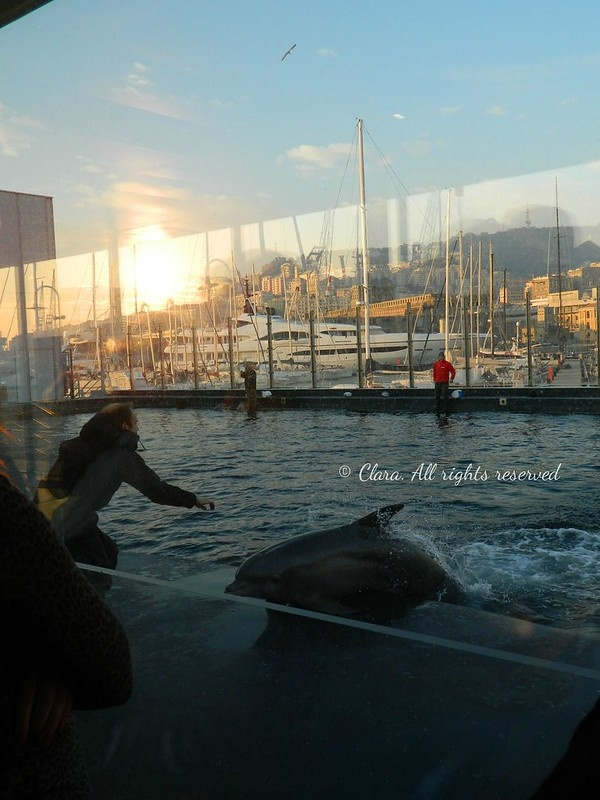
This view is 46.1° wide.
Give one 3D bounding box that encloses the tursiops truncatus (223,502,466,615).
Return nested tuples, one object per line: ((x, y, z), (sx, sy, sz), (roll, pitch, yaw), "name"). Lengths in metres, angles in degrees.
((0.309, 0.723, 3.137), (1.239, 0.508, 0.440), (4, -9, -16), "tursiops truncatus")

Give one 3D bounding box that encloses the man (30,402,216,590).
((-0.826, 0.321, 3.130), (0.633, 0.912, 0.710), (15, 17, 21), "man")

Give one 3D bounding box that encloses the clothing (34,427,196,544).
((-0.810, 0.366, 3.066), (0.700, 0.307, 0.390), (-1, 0, -9), "clothing")

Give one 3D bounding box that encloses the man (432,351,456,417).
((2.957, -0.317, 14.452), (0.373, 1.212, 1.535), (-1, 0, 10), "man")
